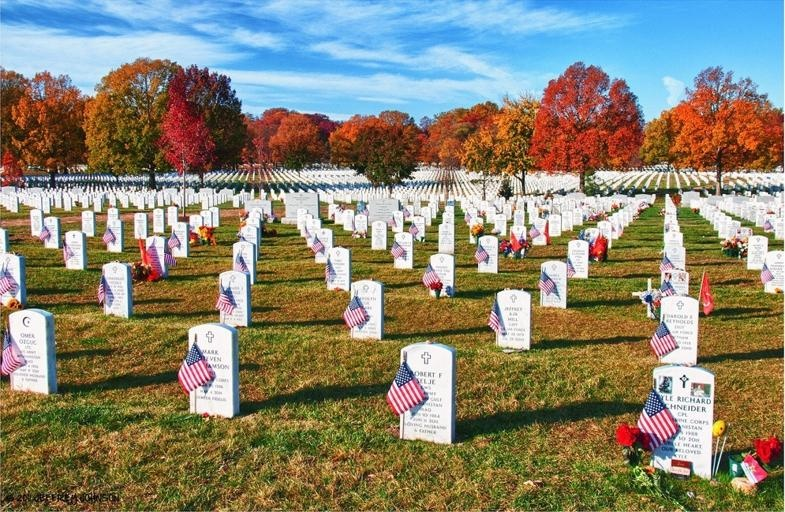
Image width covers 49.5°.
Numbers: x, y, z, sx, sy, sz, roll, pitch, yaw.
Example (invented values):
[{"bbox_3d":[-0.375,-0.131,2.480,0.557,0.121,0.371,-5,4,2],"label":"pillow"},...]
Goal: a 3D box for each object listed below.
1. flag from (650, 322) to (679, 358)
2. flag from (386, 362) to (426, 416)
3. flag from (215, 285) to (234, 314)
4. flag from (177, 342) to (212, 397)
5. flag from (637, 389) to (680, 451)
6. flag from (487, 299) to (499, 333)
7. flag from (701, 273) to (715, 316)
[{"bbox_3d":[7.068,2.172,21.902,0.868,1.024,0.085,-7,1,6],"label":"flag"},{"bbox_3d":[0.343,3.074,19.478,1.031,1.050,0.660,-18,4,9],"label":"flag"},{"bbox_3d":[-4.801,1.254,24.289,0.721,0.821,0.475,7,17,-1],"label":"flag"},{"bbox_3d":[-4.609,2.597,19.937,0.832,1.178,0.260,-3,7,-6],"label":"flag"},{"bbox_3d":[5.885,3.614,18.604,1.058,1.191,0.057,-20,-1,4],"label":"flag"},{"bbox_3d":[2.750,1.592,22.793,0.259,0.870,0.258,-4,7,-17],"label":"flag"},{"bbox_3d":[9.097,1.122,24.515,0.360,1.633,0.265,-15,30,2],"label":"flag"}]
